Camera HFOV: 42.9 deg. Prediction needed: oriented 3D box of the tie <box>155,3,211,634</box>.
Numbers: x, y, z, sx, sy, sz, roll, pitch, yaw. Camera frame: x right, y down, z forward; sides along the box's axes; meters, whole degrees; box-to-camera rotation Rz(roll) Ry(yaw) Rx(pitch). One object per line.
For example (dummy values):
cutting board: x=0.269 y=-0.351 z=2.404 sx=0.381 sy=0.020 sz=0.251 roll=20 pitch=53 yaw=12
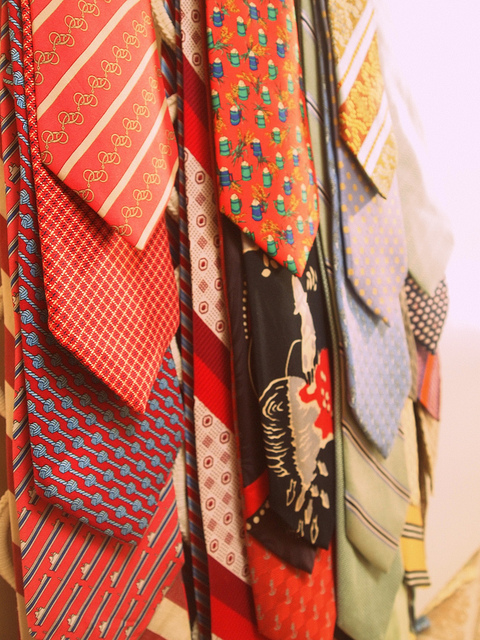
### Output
tie: x=-0.053 y=-0.004 z=0.672 sx=0.070 sy=0.669 sz=0.017 roll=2 pitch=-5 yaw=-32

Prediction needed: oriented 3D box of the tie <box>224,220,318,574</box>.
tie: x=0.038 y=0.103 z=0.643 sx=0.085 sy=0.425 sz=0.015 roll=5 pitch=-10 yaw=-45
